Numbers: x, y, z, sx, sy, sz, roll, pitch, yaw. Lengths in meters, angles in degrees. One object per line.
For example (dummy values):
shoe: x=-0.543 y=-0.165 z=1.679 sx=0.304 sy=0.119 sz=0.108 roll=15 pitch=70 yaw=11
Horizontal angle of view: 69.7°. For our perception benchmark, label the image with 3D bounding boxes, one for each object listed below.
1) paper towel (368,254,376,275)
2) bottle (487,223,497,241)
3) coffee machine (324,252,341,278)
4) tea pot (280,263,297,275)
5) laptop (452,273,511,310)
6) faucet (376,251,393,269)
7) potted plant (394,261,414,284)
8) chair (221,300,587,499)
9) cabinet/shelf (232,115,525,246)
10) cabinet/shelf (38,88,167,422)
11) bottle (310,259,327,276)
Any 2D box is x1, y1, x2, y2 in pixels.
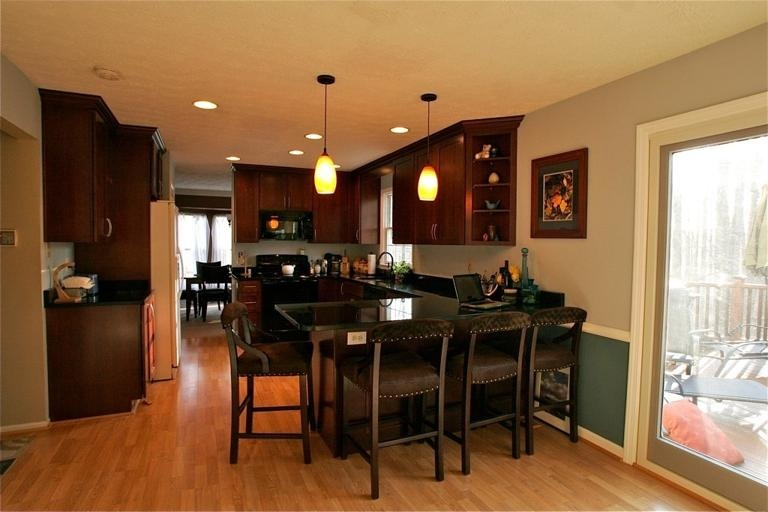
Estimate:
paper towel: x=-0.162 y=0.116 z=8.079 sx=0.141 sy=0.295 sz=0.100 roll=-1 pitch=2 yaw=-17
bottle: x=1.073 y=-0.242 z=5.643 sx=0.141 sy=0.195 sz=0.133 roll=-1 pitch=4 yaw=0
coffee machine: x=-0.792 y=0.114 z=8.566 sx=0.272 sy=0.321 sz=0.479 roll=-1 pitch=1 yaw=-6
tea pot: x=-1.415 y=0.197 z=8.205 sx=0.150 sy=0.120 sz=0.197 roll=-7 pitch=-13 yaw=34
laptop: x=0.885 y=0.325 z=5.108 sx=0.430 sy=0.233 sz=0.364 roll=2 pitch=-1 yaw=-44
faucet: x=0.017 y=0.056 z=7.926 sx=0.159 sy=0.239 sz=0.274 roll=-2 pitch=4 yaw=-37
potted plant: x=0.266 y=0.212 z=7.307 sx=0.316 sy=0.277 sz=0.270 roll=0 pitch=2 yaw=-16
chair: x=0.223 y=1.090 z=4.684 sx=3.055 sy=1.442 sz=1.031 roll=-1 pitch=1 yaw=-12
cabinet/shelf: x=0.073 y=-0.732 z=7.022 sx=4.036 sy=1.265 sz=1.543 roll=0 pitch=1 yaw=36
cabinet/shelf: x=-2.734 y=0.017 z=5.461 sx=0.947 sy=2.970 sz=0.931 roll=-1 pitch=2 yaw=-18
bottle: x=-1.018 y=0.162 z=8.526 sx=0.199 sy=0.276 sz=0.308 roll=-6 pitch=-10 yaw=44
